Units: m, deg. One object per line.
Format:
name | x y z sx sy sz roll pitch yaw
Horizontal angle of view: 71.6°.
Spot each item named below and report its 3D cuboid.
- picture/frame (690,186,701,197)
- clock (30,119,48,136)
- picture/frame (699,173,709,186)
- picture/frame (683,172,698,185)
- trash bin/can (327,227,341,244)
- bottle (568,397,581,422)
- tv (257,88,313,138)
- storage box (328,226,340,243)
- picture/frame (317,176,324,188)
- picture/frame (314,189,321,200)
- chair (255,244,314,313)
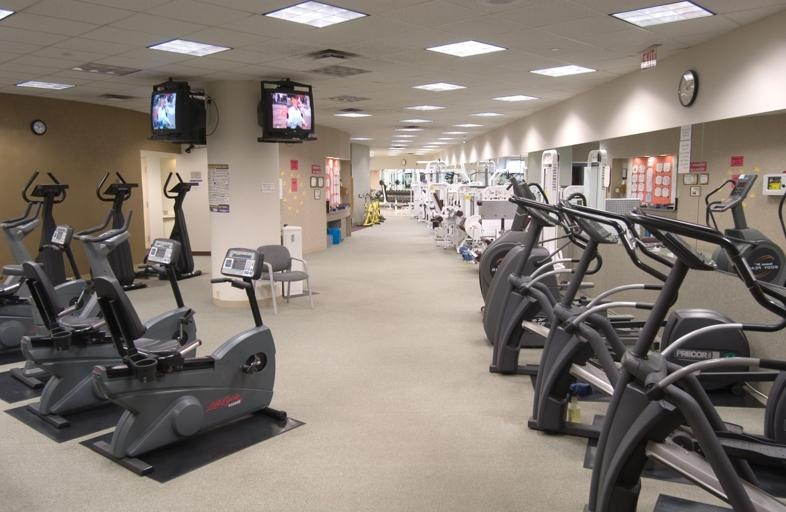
picture/frame | 4.012 -0.862 7.244 0.023 0.150 0.166 -1 4 -42
clock | -6.432 -2.329 9.921 0.076 0.285 0.293 4 15 17
picture/frame | 4.063 -1.005 7.145 0.038 0.153 0.145 -5 15 -15
picture/frame | 3.981 -1.032 7.308 0.026 0.169 0.192 8 -1 -30
trash bin/can | -1.740 -0.602 16.309 0.422 0.526 0.542 0 4 4
bottle | 1.733 1.467 5.220 0.122 0.239 0.252 5 15 20
tv | -1.716 -2.199 8.463 0.896 0.773 0.509 -11 18 -44
storage box | -1.740 -0.631 16.311 0.400 0.510 0.532 0 5 3
picture/frame | -1.993 -2.010 14.826 0.048 0.266 0.325 0 8 20
picture/frame | -2.068 -1.676 14.727 0.032 0.300 0.305 1 -7 22
chair | -1.735 0.321 8.586 0.812 0.935 0.836 1 5 7
